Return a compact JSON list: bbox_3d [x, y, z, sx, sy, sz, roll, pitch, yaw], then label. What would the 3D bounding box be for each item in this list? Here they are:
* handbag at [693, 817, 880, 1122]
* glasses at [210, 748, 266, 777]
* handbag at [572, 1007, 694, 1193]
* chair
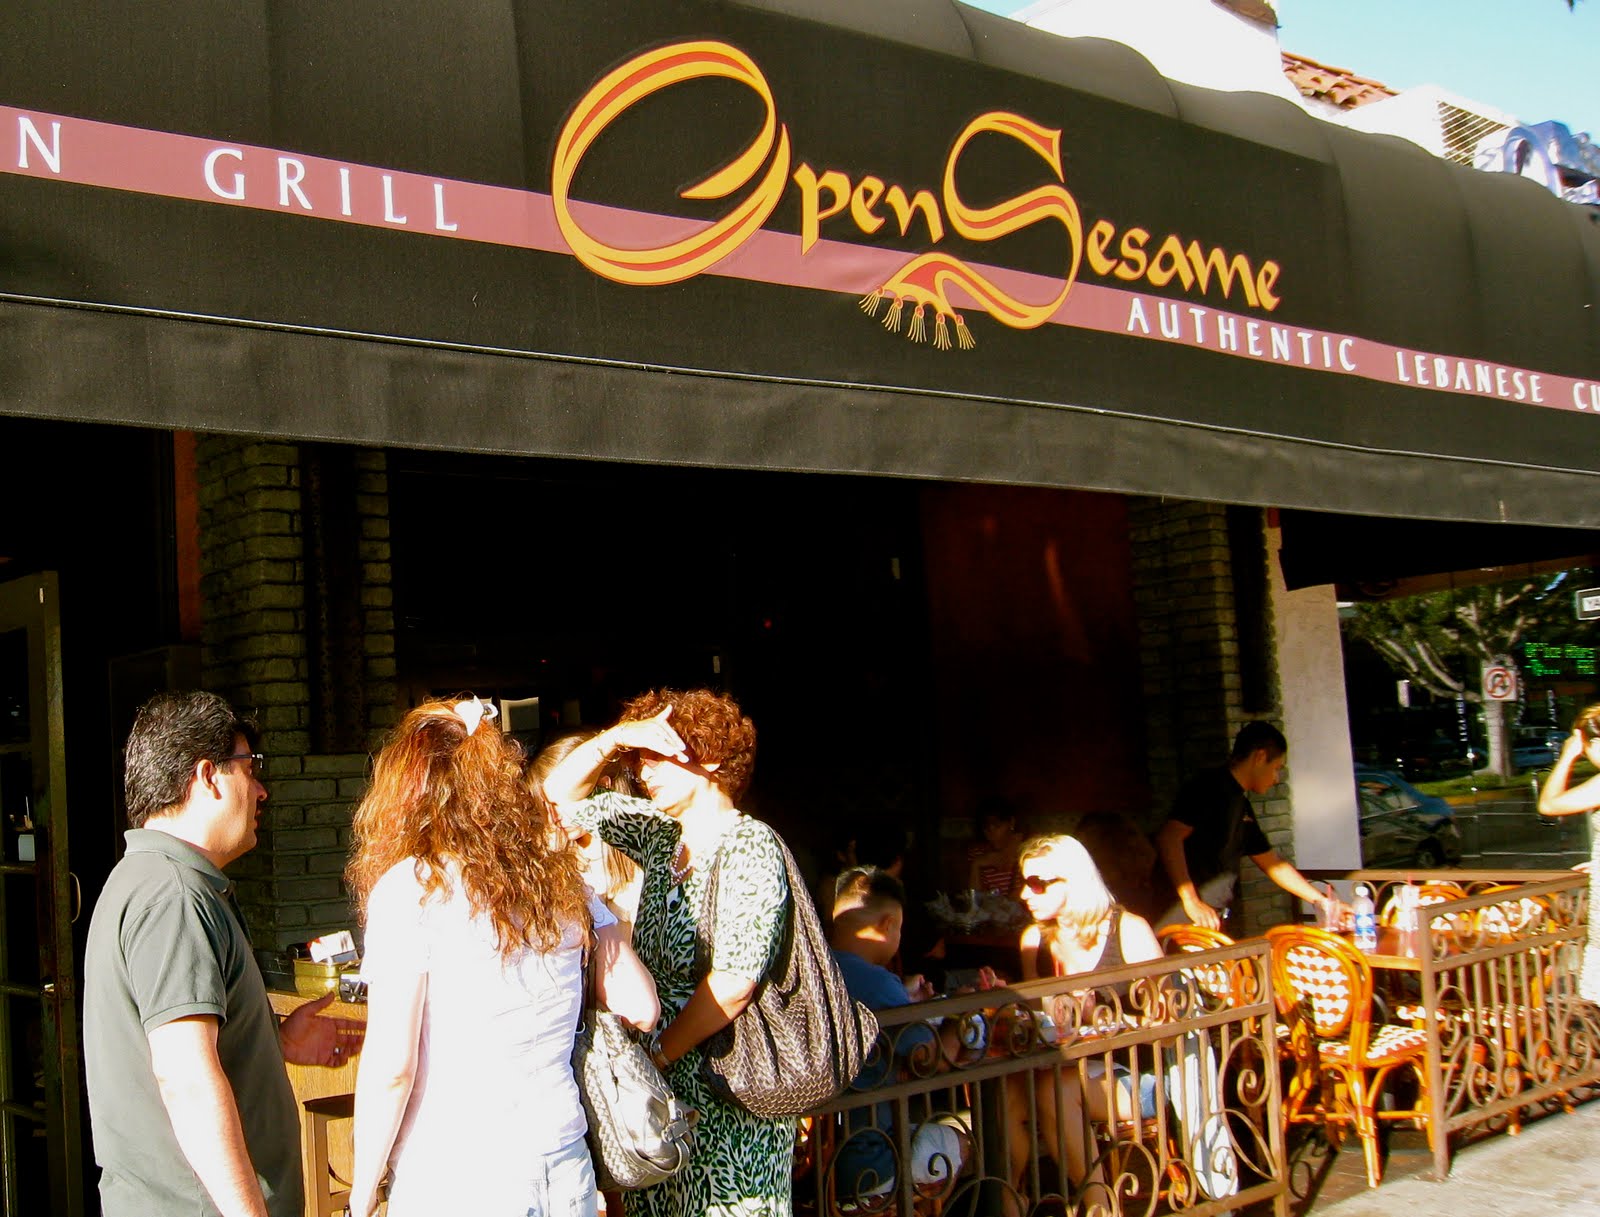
[{"bbox_3d":[0.007,1.036,4.124,0.309,0.771,0.523,-10,-21,7],"label":"handbag"},{"bbox_3d":[-1.352,0.372,3.678,0.104,0.040,0.107,1,2,13],"label":"glasses"},{"bbox_3d":[-0.407,1.151,3.626,0.198,0.423,0.419,-19,-7,-17],"label":"handbag"},{"bbox_3d":[2.668,1.693,6.586,1.293,0.878,1.270,-6,3,-41],"label":"chair"}]
